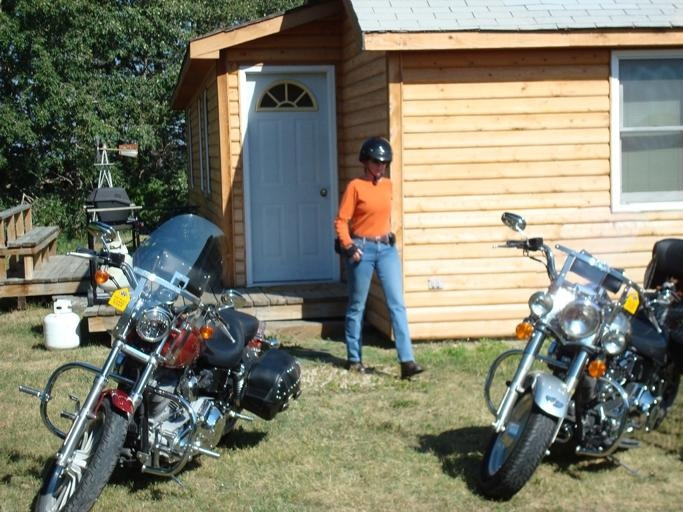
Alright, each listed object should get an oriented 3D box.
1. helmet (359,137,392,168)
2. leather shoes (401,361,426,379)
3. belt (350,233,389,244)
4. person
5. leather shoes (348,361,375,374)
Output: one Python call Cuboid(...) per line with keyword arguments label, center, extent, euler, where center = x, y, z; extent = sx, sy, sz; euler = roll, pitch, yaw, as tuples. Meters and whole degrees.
Cuboid(label="helmet", center=(0.365, -1.110, 9.008), extent=(0.275, 0.305, 0.251), euler=(5, 9, 43))
Cuboid(label="leather shoes", center=(0.756, 1.209, 8.950), extent=(0.113, 0.173, 0.335), euler=(1, -16, -30))
Cuboid(label="belt", center=(0.311, -0.185, 9.026), extent=(0.395, 0.089, 0.055), euler=(4, 2, 2))
Cuboid(label="person", center=(0.408, -0.032, 9.152), extent=(0.786, 2.657, 0.981), euler=(1, 1, 35))
Cuboid(label="leather shoes", center=(0.190, 1.226, 9.262), extent=(0.205, 0.100, 0.134), euler=(7, 3, 38))
